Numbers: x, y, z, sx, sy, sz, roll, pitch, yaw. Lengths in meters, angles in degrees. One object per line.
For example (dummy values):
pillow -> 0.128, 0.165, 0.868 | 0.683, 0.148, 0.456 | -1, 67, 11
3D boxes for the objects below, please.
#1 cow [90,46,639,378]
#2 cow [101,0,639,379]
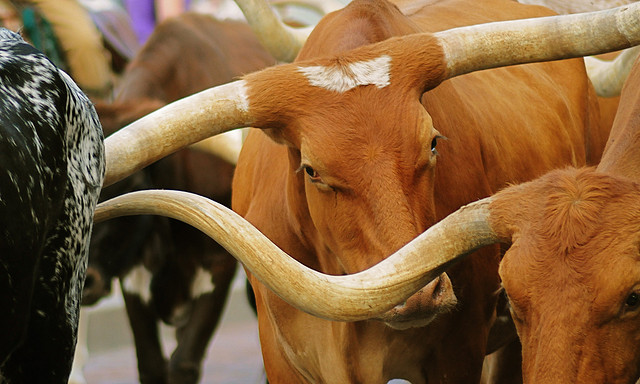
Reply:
cow -> 0.270, 0.102, 4.849 | 2.392, 1.220, 2.367 | -2, 0, 19
cow -> 0.399, 0.085, 4.794 | 2.033, 1.358, 2.633 | -7, 5, 19
